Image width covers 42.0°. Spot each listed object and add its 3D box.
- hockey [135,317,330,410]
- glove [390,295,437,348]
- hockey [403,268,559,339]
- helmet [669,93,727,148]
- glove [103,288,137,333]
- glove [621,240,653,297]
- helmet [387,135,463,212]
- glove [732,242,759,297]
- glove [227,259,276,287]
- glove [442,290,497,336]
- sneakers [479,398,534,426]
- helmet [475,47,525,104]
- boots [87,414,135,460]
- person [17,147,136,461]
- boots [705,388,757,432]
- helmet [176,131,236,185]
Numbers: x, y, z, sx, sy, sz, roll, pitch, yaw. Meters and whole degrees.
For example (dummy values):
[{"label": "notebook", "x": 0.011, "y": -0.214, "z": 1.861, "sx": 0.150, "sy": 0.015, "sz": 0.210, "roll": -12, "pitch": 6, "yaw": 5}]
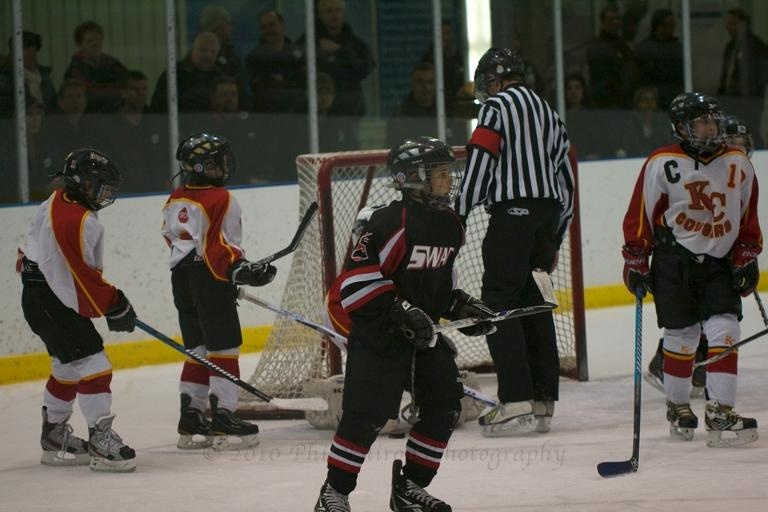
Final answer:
[{"label": "hockey", "x": -0.954, "y": 0.685, "z": 6.218, "sx": 1.336, "sy": 0.111, "sz": 0.192, "roll": 25, "pitch": -8, "yaw": 33}, {"label": "glove", "x": 0.124, "y": 0.304, "z": 4.687, "sx": 0.226, "sy": 0.083, "sz": 0.167, "roll": 44, "pitch": 4, "yaw": 23}, {"label": "hockey", "x": 0.522, "y": 0.265, "z": 4.875, "sx": 0.639, "sy": 0.248, "sz": 0.151, "roll": -19, "pitch": 38, "yaw": -1}, {"label": "helmet", "x": 1.722, "y": -0.744, "z": 5.475, "sx": 0.263, "sy": 0.322, "sz": 0.325, "roll": -12, "pitch": 16, "yaw": -28}, {"label": "glove", "x": -1.448, "y": 0.317, "z": 5.446, "sx": 0.176, "sy": 0.229, "sz": 0.089, "roll": 0, "pitch": 25, "yaw": -4}, {"label": "glove", "x": 1.408, "y": 0.072, "z": 5.553, "sx": 0.122, "sy": 0.267, "sz": 0.213, "roll": -5, "pitch": -8, "yaw": 12}, {"label": "helmet", "x": 0.197, "y": -0.405, "z": 4.901, "sx": 0.322, "sy": 0.359, "sz": 0.342, "roll": -6, "pitch": 1, "yaw": -38}, {"label": "glove", "x": 1.947, "y": 0.079, "z": 5.413, "sx": 0.093, "sy": 0.229, "sz": 0.229, "roll": 1, "pitch": 16, "yaw": 11}, {"label": "glove", "x": -0.755, "y": 0.088, "z": 5.686, "sx": 0.214, "sy": 0.097, "sz": 0.149, "roll": -7, "pitch": -5, "yaw": -38}, {"label": "glove", "x": 0.420, "y": 0.261, "z": 4.887, "sx": 0.230, "sy": 0.090, "sz": 0.226, "roll": 45, "pitch": -24, "yaw": -28}, {"label": "sneakers", "x": 0.694, "y": 0.884, "z": 5.694, "sx": 0.345, "sy": 0.155, "sz": 0.117, "roll": -13, "pitch": -4, "yaw": 18}, {"label": "helmet", "x": 0.678, "y": -1.087, "z": 5.916, "sx": 0.308, "sy": 0.296, "sz": 0.251, "roll": -15, "pitch": 2, "yaw": 35}, {"label": "boots", "x": -1.489, "y": 0.999, "z": 5.447, "sx": 0.348, "sy": 0.241, "sz": 0.134, "roll": 8, "pitch": 6, "yaw": 34}, {"label": "person", "x": -1.697, "y": 0.292, "z": 5.487, "sx": 0.650, "sy": 1.751, "sz": 0.363, "roll": -1, "pitch": 6, "yaw": 1}, {"label": "boots", "x": 1.860, "y": 0.825, "z": 5.333, "sx": 0.114, "sy": 0.222, "sz": 0.323, "roll": -1, "pitch": -3, "yaw": -39}, {"label": "helmet", "x": -1.041, "y": -0.536, "z": 5.869, "sx": 0.338, "sy": 0.313, "sz": 0.283, "roll": -7, "pitch": 11, "yaw": -19}]
